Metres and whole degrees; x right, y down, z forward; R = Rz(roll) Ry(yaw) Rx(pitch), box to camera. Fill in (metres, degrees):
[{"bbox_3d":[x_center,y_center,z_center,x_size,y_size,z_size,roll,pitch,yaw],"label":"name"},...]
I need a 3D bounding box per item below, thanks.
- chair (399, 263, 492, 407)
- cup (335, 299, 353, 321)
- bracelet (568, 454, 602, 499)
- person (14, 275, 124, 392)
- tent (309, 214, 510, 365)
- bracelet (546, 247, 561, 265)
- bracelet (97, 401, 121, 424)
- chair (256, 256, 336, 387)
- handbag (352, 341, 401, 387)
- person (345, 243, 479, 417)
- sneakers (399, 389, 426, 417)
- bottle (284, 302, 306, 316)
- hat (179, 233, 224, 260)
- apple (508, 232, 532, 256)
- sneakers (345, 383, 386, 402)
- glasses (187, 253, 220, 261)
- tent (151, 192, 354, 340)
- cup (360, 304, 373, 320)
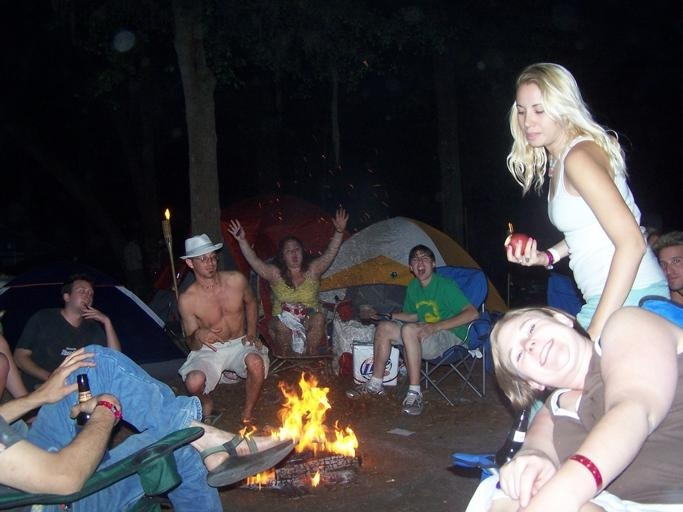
[{"bbox_3d":[1.274,1.102,6.125,0.570,0.874,0.551,15,0,0],"label":"chair"},{"bbox_3d":[0.064,0.774,7.744,0.204,0.234,0.246,-7,-16,21],"label":"cup"},{"bbox_3d":[0.878,0.796,1.984,0.028,0.130,0.123,-20,9,-3],"label":"bracelet"},{"bbox_3d":[-2.589,0.770,5.316,0.801,1.179,0.787,10,17,-22],"label":"person"},{"bbox_3d":[0.978,0.507,8.529,2.146,1.099,2.109,0,-5,-41],"label":"tent"},{"bbox_3d":[1.197,0.001,3.099,0.036,0.106,0.080,-1,7,-16],"label":"bracelet"},{"bbox_3d":[-1.303,0.896,3.082,0.116,0.097,0.118,-1,4,-23],"label":"bracelet"},{"bbox_3d":[-0.580,0.884,7.240,1.120,1.244,2.061,-1,26,-6],"label":"chair"},{"bbox_3d":[0.440,1.291,6.647,0.732,0.762,0.453,0,-2,5],"label":"handbag"},{"bbox_3d":[0.887,0.767,6.232,1.088,1.766,0.887,-4,4,-29],"label":"person"},{"bbox_3d":[0.773,1.557,5.835,0.167,0.234,0.317,-1,3,25],"label":"sneakers"},{"bbox_3d":[-0.606,0.691,7.138,0.159,0.121,0.204,12,-11,-41],"label":"bottle"},{"bbox_3d":[-1.429,-0.045,5.583,0.321,0.138,0.305,-23,5,2],"label":"hat"},{"bbox_3d":[0.980,-0.091,3.004,0.086,0.103,0.122,20,38,-5],"label":"apple"},{"bbox_3d":[0.284,1.585,6.409,0.462,0.230,0.180,7,0,-9],"label":"sneakers"},{"bbox_3d":[-1.422,0.014,5.591,0.176,0.055,0.161,-10,-5,36],"label":"glasses"},{"bbox_3d":[-1.574,-0.306,8.955,2.191,1.049,2.302,-21,15,-3],"label":"tent"},{"bbox_3d":[0.321,0.690,6.713,0.136,0.158,0.155,-1,-10,5],"label":"cup"}]
